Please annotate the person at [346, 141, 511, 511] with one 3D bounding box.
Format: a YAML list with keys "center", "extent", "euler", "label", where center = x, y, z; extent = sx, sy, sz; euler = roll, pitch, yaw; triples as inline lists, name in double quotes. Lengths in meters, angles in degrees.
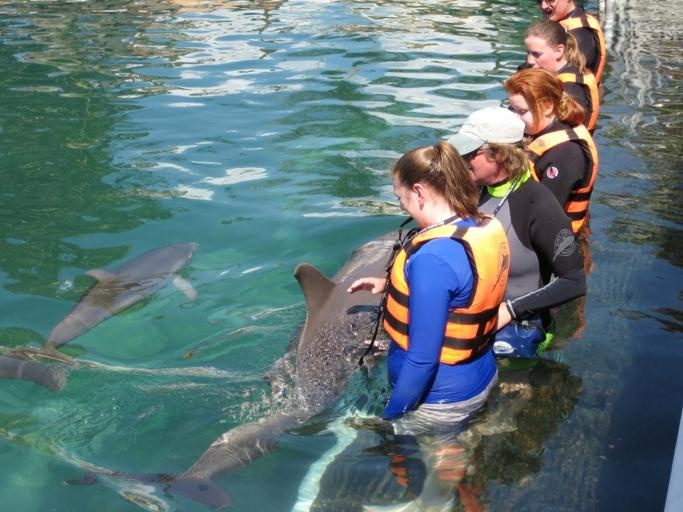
- center: [0.875, 0.560, 6.784]
  extent: [1.052, 3.165, 1.480]
  euler: [2, 32, 20]
  label: "person"

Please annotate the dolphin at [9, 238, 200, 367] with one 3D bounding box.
- center: [-2.800, 0.457, 9.377]
  extent: [2.252, 0.403, 1.095]
  euler: [-24, 44, -38]
  label: "dolphin"

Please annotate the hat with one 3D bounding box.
- center: [1.380, -1.212, 7.287]
  extent: [1.051, 0.436, 0.463]
  euler: [1, 21, 2]
  label: "hat"
